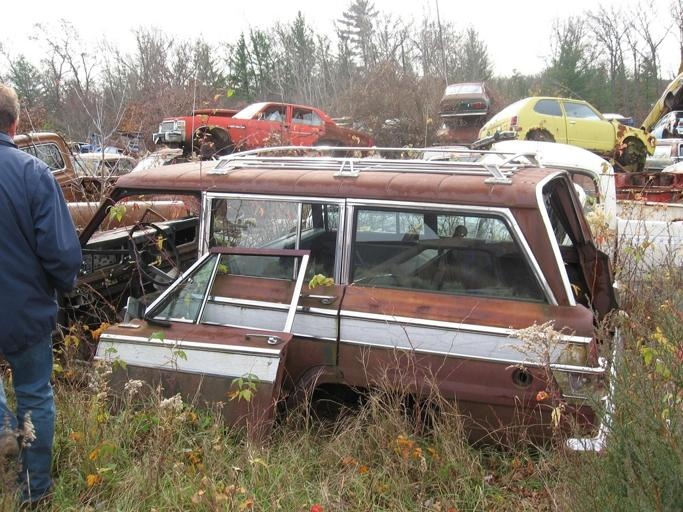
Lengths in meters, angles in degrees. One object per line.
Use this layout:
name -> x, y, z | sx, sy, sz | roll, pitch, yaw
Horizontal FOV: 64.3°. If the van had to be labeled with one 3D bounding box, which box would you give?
van -> 0.196, 0.242, 4.292 | 3.118, 1.688, 2.608 | 5, 12, 17
